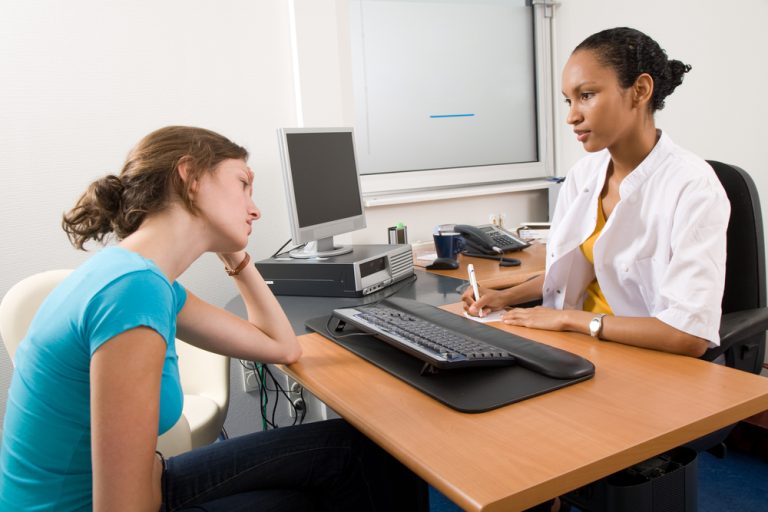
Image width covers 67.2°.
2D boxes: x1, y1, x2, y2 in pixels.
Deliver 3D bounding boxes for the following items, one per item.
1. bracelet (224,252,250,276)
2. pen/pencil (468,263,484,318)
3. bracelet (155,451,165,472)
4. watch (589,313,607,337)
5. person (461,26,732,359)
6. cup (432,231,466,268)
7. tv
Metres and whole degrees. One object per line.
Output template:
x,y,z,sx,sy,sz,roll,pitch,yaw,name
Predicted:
-0.442,0.031,1.783,0.070,0.072,0.025,-15,-47,32,bracelet
0.323,0.125,2.034,0.024,0.177,0.022,-17,-25,17,pen/pencil
-0.608,0.553,1.575,0.016,0.051,0.053,-1,3,-35,bracelet
0.624,0.202,1.693,0.040,0.064,0.067,22,-4,19,watch
0.716,-0.238,1.982,0.790,0.998,0.963,-8,10,-12,person
0.329,-0.028,2.607,0.136,0.186,0.203,1,-12,19,cup
-0.268,-0.284,2.452,0.173,0.521,0.554,5,14,27,tv
